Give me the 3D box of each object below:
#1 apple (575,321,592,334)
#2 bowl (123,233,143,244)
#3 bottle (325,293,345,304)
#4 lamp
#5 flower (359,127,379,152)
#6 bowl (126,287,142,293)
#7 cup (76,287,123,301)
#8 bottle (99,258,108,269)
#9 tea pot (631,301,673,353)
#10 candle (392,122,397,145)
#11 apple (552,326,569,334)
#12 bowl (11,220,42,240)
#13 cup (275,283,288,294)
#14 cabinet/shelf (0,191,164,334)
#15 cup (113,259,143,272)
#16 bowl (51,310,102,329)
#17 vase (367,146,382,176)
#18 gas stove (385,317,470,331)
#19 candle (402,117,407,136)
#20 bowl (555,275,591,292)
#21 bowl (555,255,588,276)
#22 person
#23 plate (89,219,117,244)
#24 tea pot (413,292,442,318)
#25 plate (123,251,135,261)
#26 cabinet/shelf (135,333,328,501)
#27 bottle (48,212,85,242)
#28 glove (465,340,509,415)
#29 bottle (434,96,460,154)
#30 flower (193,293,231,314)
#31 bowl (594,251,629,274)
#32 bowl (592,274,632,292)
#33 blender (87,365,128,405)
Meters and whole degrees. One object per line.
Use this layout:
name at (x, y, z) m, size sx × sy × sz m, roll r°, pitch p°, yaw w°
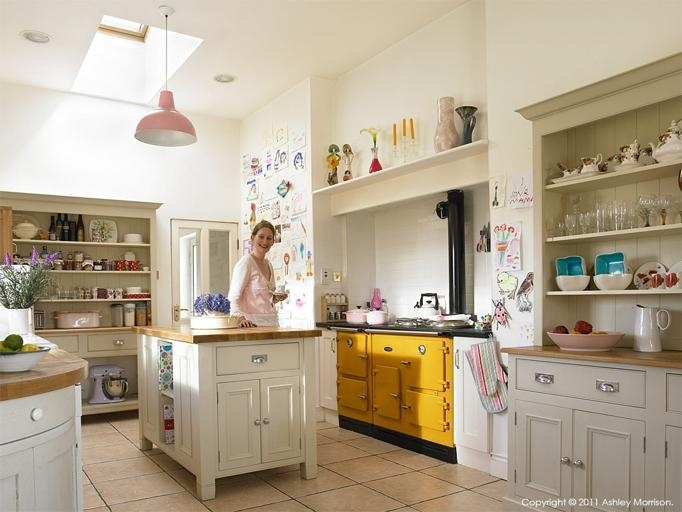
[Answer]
apple at (1.567, 0.461, 3.392) m, size 0.091 × 0.071 × 0.050 m, roll 9°, pitch -27°, yaw 42°
bowl at (-2.502, -0.195, 6.333) m, size 0.136 × 0.088 × 0.140 m, roll 1°, pitch 0°, yaw 0°
bottle at (-0.053, 0.494, 6.031) m, size 0.143 × 0.092 × 0.151 m, roll 1°, pitch 1°, yaw 0°
lamp at (-1.725, -1.706, 5.067) m, size 0.511 × 1.416 × 1.288 m, roll -1°, pitch -1°, yaw -22°
flower at (0.338, -1.263, 5.686) m, size 0.247 × 0.262 × 0.246 m, roll -8°, pitch 6°, yaw -10°
bowl at (-2.486, 0.410, 6.309) m, size 0.090 × 0.058 × 0.090 m, roll 1°, pitch 0°, yaw 0°
cup at (-2.844, 0.434, 6.174) m, size 0.546 × 0.151 × 0.223 m, roll 0°, pitch -1°, yaw -25°
bottle at (-2.813, 0.097, 6.231) m, size 0.108 × 0.114 × 0.109 m, roll 3°, pitch 1°, yaw -7°
tea pot at (1.946, 0.445, 3.261) m, size 0.273 × 0.328 × 0.160 m, roll -4°, pitch -9°, yaw 43°
candle at (0.561, -1.253, 5.429) m, size 0.048 × 0.182 × 0.122 m, roll -1°, pitch -1°, yaw 3°
apple at (1.438, 0.479, 3.431) m, size 0.069 × 0.052 × 0.090 m, roll 2°, pitch 0°, yaw -27°
bowl at (-3.468, -0.266, 5.760) m, size 0.207 × 0.164 × 0.209 m, roll 0°, pitch -5°, yaw 0°
cup at (-0.516, 0.290, 4.510) m, size 0.133 × 0.072 × 0.193 m, roll 1°, pitch -1°, yaw -1°
cabinet/shelf at (-2.876, 0.076, 5.758) m, size 1.570 × 1.566 × 0.408 m, roll 2°, pitch -5°, yaw -37°
cup at (-2.566, 0.112, 6.290) m, size 0.224 × 0.091 × 0.136 m, roll -1°, pitch -4°, yaw 7°
bowl at (-2.981, 0.715, 5.941) m, size 0.432 × 0.186 × 0.204 m, roll 0°, pitch -1°, yaw -22°
vase at (0.367, -1.010, 5.505) m, size 0.126 × 0.241 × 0.395 m, roll -1°, pitch -1°, yaw 5°
gas stove at (0.785, 0.617, 4.770) m, size 0.801 × 0.089 × 0.403 m, roll -2°, pitch -2°, yaw 42°
candle at (0.645, -1.297, 5.329) m, size 0.032 × 0.150 × 0.073 m, roll -1°, pitch -1°, yaw -35°
bowl at (1.556, 0.183, 3.517) m, size 0.122 × 0.070 × 0.149 m, roll 2°, pitch -2°, yaw -29°
bowl at (1.587, 0.058, 3.644) m, size 0.183 × 0.154 × 0.157 m, roll 1°, pitch 3°, yaw -40°
person at (-0.780, 0.157, 4.666) m, size 0.482 × 0.918 × 0.242 m, roll 0°, pitch -1°, yaw -32°
plate at (-2.858, -0.300, 6.288) m, size 0.267 × 0.292 × 0.074 m, roll -3°, pitch -1°, yaw -40°
tea pot at (0.868, 0.502, 5.326) m, size 0.237 × 0.277 × 0.263 m, roll -3°, pitch 3°, yaw -40°
plate at (-2.575, -0.013, 6.396) m, size 0.112 × 0.106 × 0.086 m, roll -1°, pitch -1°, yaw 24°
cabinet/shelf at (-1.091, 1.227, 4.639) m, size 1.006 × 1.191 × 1.779 m, roll 2°, pitch -6°, yaw -37°
bottle at (-3.167, -0.333, 6.060) m, size 0.370 × 0.321 × 0.218 m, roll 0°, pitch -1°, yaw -26°
glove at (1.145, 0.933, 4.107) m, size 0.292 × 0.521 × 0.135 m, roll -20°, pitch -18°, yaw 38°
bottle at (0.970, -1.202, 4.765) m, size 0.229 × 0.435 × 0.172 m, roll -1°, pitch -1°, yaw 4°
flower at (-1.044, 0.397, 4.305) m, size 0.203 × 0.144 × 0.194 m, roll 4°, pitch -7°, yaw -37°
bowl at (1.789, 0.045, 3.472) m, size 0.137 × 0.148 × 0.142 m, roll 3°, pitch -2°, yaw 0°
bowl at (1.752, 0.165, 3.365) m, size 0.138 × 0.067 × 0.144 m, roll 0°, pitch -2°, yaw 0°
blender at (-2.642, 1.460, 6.033) m, size 0.471 × 0.478 × 0.311 m, roll 0°, pitch 2°, yaw -24°
